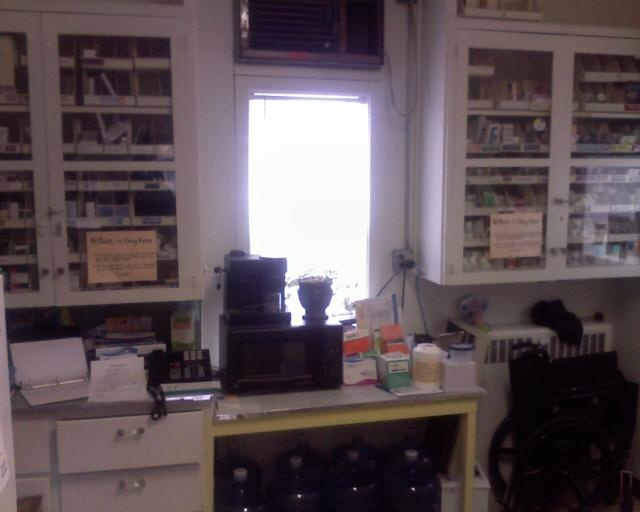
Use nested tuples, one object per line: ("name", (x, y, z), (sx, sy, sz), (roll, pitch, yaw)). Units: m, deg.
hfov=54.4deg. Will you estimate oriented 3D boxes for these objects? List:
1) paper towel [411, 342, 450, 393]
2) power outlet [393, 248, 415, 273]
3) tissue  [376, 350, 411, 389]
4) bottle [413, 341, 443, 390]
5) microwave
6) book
("paper towel", (0.532, 0.556, 3.092), (0.168, 0.214, 0.201), (0, 3, -3))
("power outlet", (0.485, 0.025, 3.608), (0.134, 0.131, 0.040), (-3, 5, 8))
("tissue ", (0.372, 0.579, 3.194), (0.151, 0.154, 0.155), (0, -1, -9))
("bottle", (0.524, 0.545, 3.129), (0.191, 0.272, 0.182), (0, 1, 0))
("microwave", (-0.170, 0.501, 3.065), (0.475, 0.297, 0.359), (0, 0, -12))
("book", (-1.253, 0.519, 2.884), (0.311, 0.218, 0.292), (-4, 16, -28))
